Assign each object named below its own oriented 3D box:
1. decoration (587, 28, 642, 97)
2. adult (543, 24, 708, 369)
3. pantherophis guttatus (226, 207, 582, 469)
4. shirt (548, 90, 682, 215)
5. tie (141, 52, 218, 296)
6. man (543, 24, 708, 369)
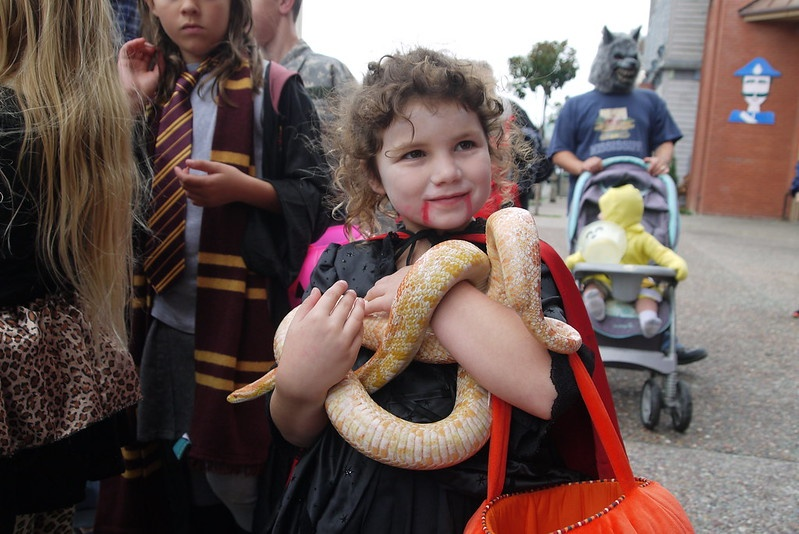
[{"bbox_3d":[1.771,-1.704,5.716,0.331,0.548,0.437,-2,10,-2],"label":"decoration"},{"bbox_3d":[1.769,-0.563,5.712,1.038,2.628,0.881,-1,1,15],"label":"adult"},{"bbox_3d":[0.192,0.270,2.675,0.932,1.003,0.387,1,16,-7],"label":"pantherophis guttatus"},{"bbox_3d":[1.791,-1.014,5.837,1.059,0.992,0.557,0,-5,12],"label":"shirt"},{"bbox_3d":[-1.143,-0.562,3.487,0.247,1.124,0.081,-6,52,-10],"label":"tie"},{"bbox_3d":[1.814,-0.576,5.714,1.072,2.622,0.865,-1,0,15],"label":"man"}]
